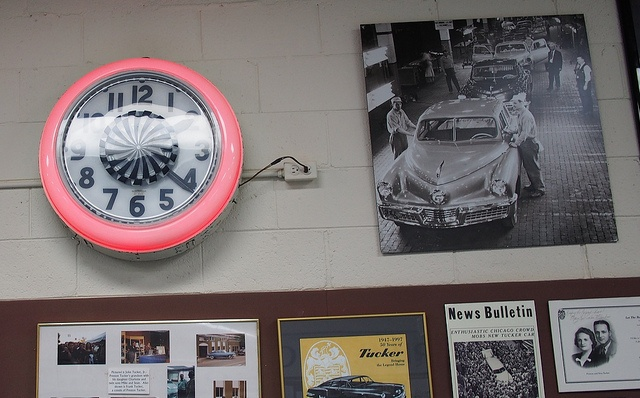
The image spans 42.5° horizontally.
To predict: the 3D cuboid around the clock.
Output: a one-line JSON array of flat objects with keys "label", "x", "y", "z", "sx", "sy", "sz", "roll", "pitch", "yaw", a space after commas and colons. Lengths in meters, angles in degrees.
[{"label": "clock", "x": -0.819, "y": -0.161, "z": 3.848, "sx": 1.058, "sy": 0.878, "sz": 0.233, "roll": 0, "pitch": -3, "yaw": -2}]
